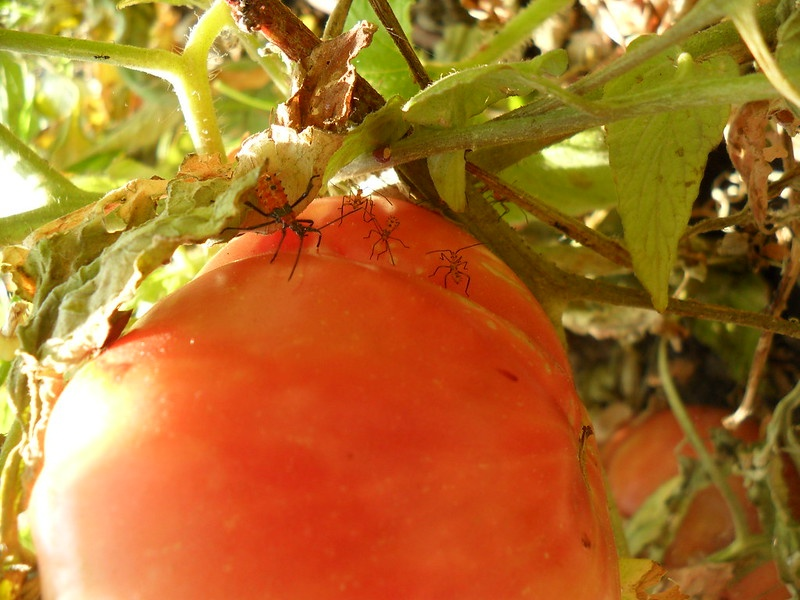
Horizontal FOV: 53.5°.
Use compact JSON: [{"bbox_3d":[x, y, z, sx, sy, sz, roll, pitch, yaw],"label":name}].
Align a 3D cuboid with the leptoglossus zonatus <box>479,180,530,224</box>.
[{"bbox_3d":[0.083,-0.070,0.611,0.031,0.039,0.012,31,-79,-37],"label":"leptoglossus zonatus"}]
